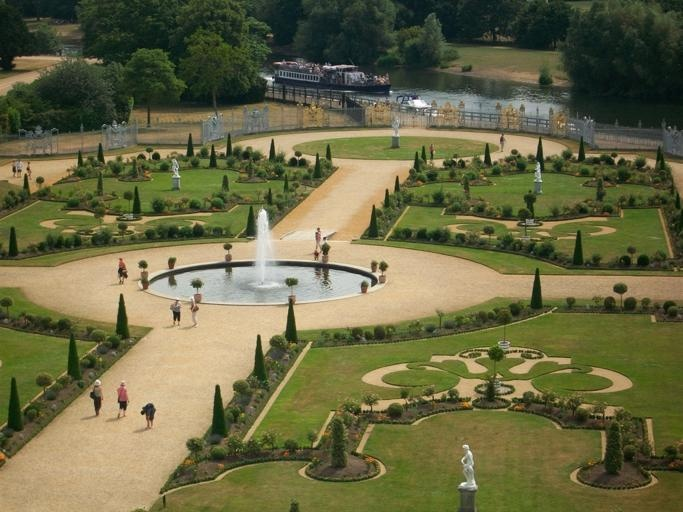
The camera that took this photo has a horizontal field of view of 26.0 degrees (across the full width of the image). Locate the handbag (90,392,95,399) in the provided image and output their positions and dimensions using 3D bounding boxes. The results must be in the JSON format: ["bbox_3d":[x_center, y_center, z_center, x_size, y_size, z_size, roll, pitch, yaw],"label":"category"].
[{"bbox_3d":[-15.067,8.500,89.443,0.202,0.502,0.668,-3,9,-20],"label":"handbag"}]

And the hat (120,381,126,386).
[{"bbox_3d":[-13.160,7.804,88.734,0.339,0.124,0.337,-4,11,-30],"label":"hat"}]

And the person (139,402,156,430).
[{"bbox_3d":[-11.604,9.605,88.602,0.878,1.385,1.493,-1,9,-7],"label":"person"}]

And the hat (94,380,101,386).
[{"bbox_3d":[-14.735,7.798,89.103,0.314,0.233,0.429,1,8,-5],"label":"hat"}]

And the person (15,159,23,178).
[{"bbox_3d":[-29.957,-8.051,136.962,0.554,1.390,1.984,-2,9,-13],"label":"person"}]
